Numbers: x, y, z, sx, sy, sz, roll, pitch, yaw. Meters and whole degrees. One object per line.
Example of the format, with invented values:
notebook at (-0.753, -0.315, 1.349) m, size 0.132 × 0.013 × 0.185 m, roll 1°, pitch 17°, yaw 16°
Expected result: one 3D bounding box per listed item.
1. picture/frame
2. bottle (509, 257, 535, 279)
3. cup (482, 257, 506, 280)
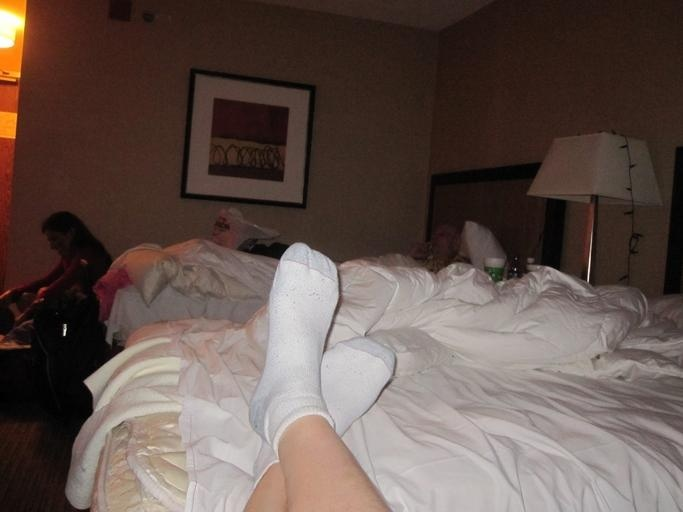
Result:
picture/frame at (-0.791, -0.935, 4.038) m, size 1.005 × 1.108 × 0.048 m, roll 6°, pitch 5°, yaw -11°
bottle at (1.007, 0.066, 2.850) m, size 0.094 × 0.200 × 0.100 m, roll 2°, pitch 5°, yaw 0°
cup at (0.697, 0.064, 2.351) m, size 0.107 × 0.139 × 0.115 m, roll -1°, pitch -3°, yaw 0°
